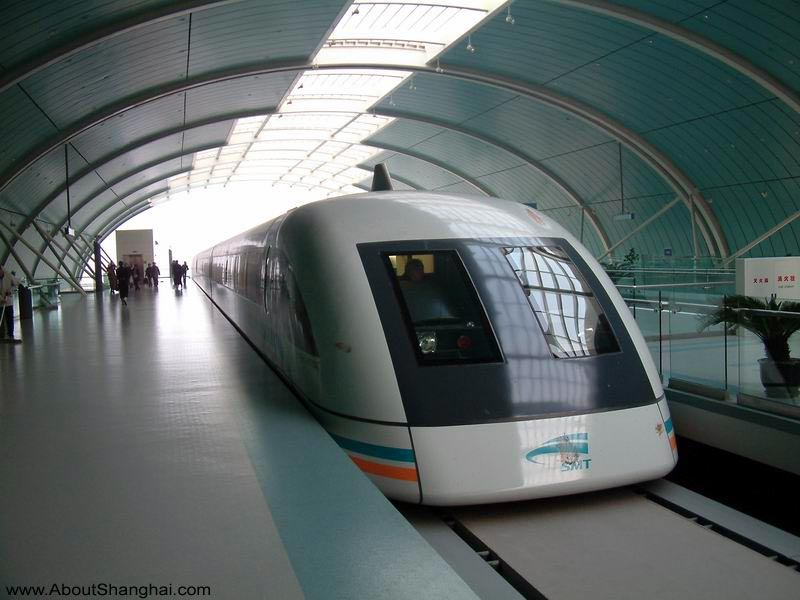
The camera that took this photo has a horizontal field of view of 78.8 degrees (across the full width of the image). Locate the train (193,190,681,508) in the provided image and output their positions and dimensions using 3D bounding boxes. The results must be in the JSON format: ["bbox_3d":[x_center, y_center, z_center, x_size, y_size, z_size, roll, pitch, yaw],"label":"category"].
[{"bbox_3d":[0.782,0.355,5.282,3.824,3.119,1.753,0,6,5],"label":"train"}]
